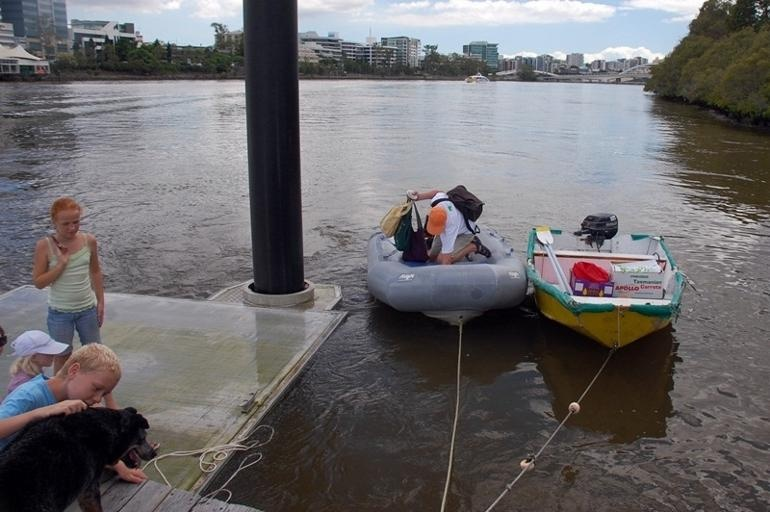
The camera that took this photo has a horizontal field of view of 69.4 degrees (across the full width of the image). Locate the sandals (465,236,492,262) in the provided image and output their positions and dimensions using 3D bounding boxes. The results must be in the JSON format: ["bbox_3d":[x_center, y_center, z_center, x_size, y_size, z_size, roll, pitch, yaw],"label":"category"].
[{"bbox_3d":[1.538,-0.098,8.783,0.534,0.178,0.221,45,33,22],"label":"sandals"}]

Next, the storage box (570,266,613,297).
[{"bbox_3d":[2.965,0.429,8.050,0.492,0.182,0.442,2,21,9],"label":"storage box"}]

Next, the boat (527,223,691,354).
[{"bbox_3d":[3.277,0.427,8.393,2.201,0.814,2.913,1,21,7],"label":"boat"}]

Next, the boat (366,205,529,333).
[{"bbox_3d":[0.951,0.459,8.603,2.384,0.858,1.529,3,17,6],"label":"boat"}]

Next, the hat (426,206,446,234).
[{"bbox_3d":[0.778,-0.507,8.315,0.306,0.381,0.231,19,12,13],"label":"hat"}]

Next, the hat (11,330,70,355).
[{"bbox_3d":[-2.796,0.723,4.529,0.391,0.128,0.229,1,6,-23],"label":"hat"}]
